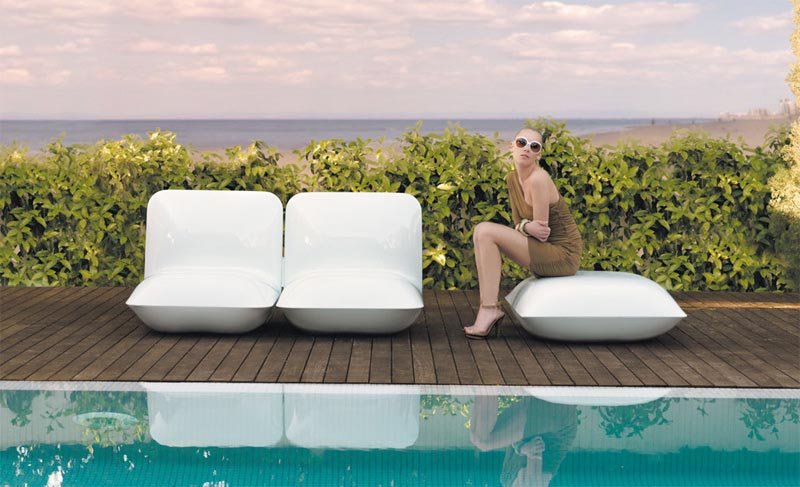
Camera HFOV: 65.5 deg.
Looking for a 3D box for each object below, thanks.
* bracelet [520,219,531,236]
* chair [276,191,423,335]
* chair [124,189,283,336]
[{"bbox_3d":[1.140,-0.161,5.733,0.100,0.116,0.129,3,7,2],"label":"bracelet"},{"bbox_3d":[-0.434,0.193,5.813,1.386,1.299,0.734,1,10,-5],"label":"chair"},{"bbox_3d":[-1.804,0.186,5.832,1.383,1.205,0.918,2,15,-6],"label":"chair"}]
